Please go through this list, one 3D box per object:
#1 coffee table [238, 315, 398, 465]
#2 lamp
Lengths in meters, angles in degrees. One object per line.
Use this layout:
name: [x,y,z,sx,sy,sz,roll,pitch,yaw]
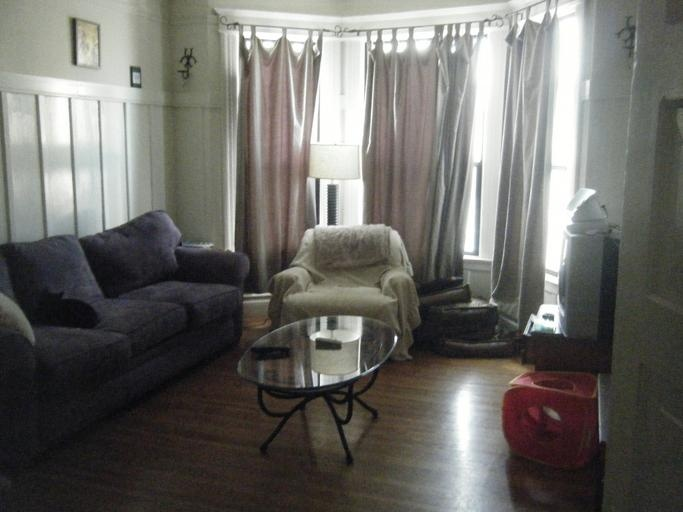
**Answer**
coffee table: [-0.124,0.510,2.871,0.576,0.421,0.842,1,10,13]
lamp: [-0.051,-0.611,4.555,0.436,0.697,0.427,2,8,2]
